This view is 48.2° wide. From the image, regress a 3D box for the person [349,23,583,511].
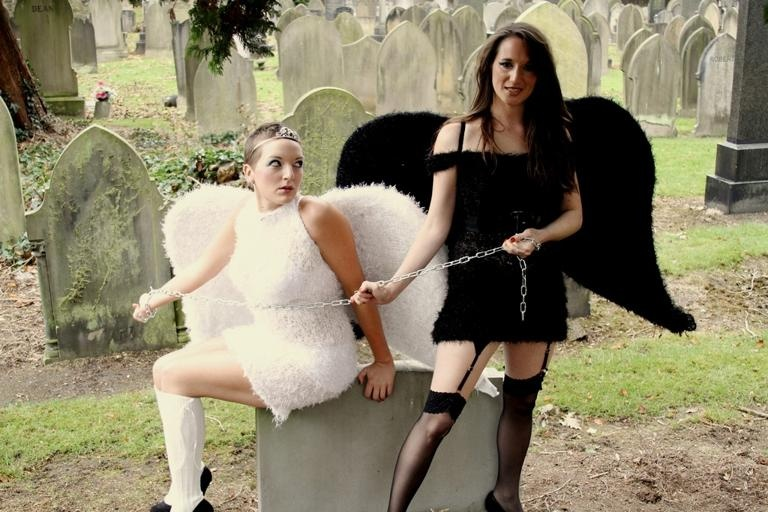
[{"bbox_3d":[0.701,0.159,5.874,1.372,3.400,0.492,-5,11,-17],"label":"person"}]
